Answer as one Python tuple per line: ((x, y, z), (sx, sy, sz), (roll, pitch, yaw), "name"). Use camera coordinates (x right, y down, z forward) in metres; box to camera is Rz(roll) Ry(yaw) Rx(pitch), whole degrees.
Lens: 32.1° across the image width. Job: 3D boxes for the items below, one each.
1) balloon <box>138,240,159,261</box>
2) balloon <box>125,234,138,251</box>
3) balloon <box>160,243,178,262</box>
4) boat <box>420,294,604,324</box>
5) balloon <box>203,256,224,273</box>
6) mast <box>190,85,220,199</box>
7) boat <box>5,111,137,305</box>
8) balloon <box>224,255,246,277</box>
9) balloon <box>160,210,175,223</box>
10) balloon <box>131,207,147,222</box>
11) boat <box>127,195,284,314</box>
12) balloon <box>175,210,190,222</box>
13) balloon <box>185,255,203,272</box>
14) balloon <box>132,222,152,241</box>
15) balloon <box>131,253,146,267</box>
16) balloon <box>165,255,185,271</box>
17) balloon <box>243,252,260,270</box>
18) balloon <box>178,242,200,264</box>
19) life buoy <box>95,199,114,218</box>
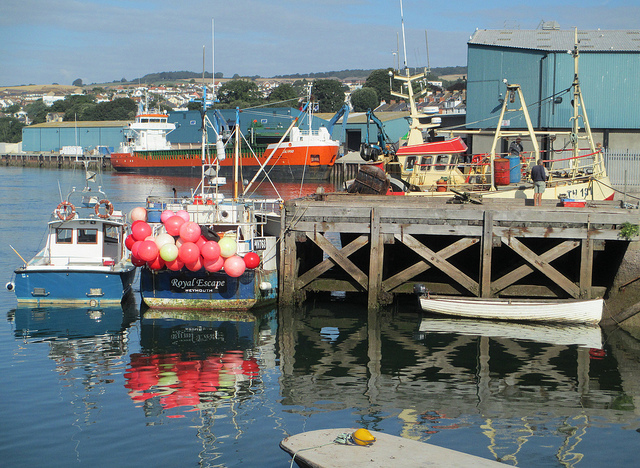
((-5.681, 0.514, 36.792), (0.676, 0.696, 0.296), (-3, 5, -8), "balloon")
((-6.468, 0.227, 37.823), (0.473, 0.459, 0.526), (1, 52, -4), "balloon")
((-4.983, 0.546, 36.669), (0.561, 0.617, 0.550), (2, 11, 24), "balloon")
((6.512, 2.474, 37.859), (6.106, 1.006, 1.223), (1, 7, 16), "boat")
((-3.584, 0.981, 37.261), (0.533, 0.517, 0.598), (-12, 20, -3), "balloon")
((-4.254, -3.201, 40.427), (0.822, 4.531, 0.678), (8, 12, 30), "mast")
((-8.571, 0.674, 39.830), (3.783, 6.822, 4.860), (-2, 11, -13), "boat")
((-2.844, 1.071, 37.197), (0.669, 0.753, 0.670), (-15, 4, -32), "balloon")
((-5.275, -0.677, 38.295), (0.431, 0.481, 0.420), (1, 20, 1), "balloon")
((-6.307, -0.745, 38.849), (0.462, 0.454, 0.537), (27, 27, 32), "balloon")
((-3.931, 0.660, 38.668), (5.508, 3.857, 4.039), (-6, 6, -33), "boat")
((-4.713, -0.659, 38.033), (0.397, 0.384, 0.438), (-12, 42, -3), "balloon")
((-4.198, 0.978, 37.095), (0.500, 0.480, 0.576), (-5, 11, -3), "balloon")
((-6.017, -0.138, 37.745), (0.608, 0.668, 0.598), (-9, 13, -40), "balloon")
((-6.173, 0.884, 37.730), (0.404, 0.462, 0.394), (-1, 16, 1), "balloon")
((-4.806, 0.944, 37.044), (0.493, 0.550, 0.489), (7, 8, 11), "balloon")
((-2.358, 0.812, 37.771), (0.517, 0.499, 0.583), (5, 34, -7), "balloon")
((-4.354, 0.593, 36.847), (0.653, 0.741, 0.657), (32, 43, 33), "balloon")
((-7.862, -1.038, 40.938), (0.850, 0.814, 0.226), (2, -5, 3), "life buoy")
